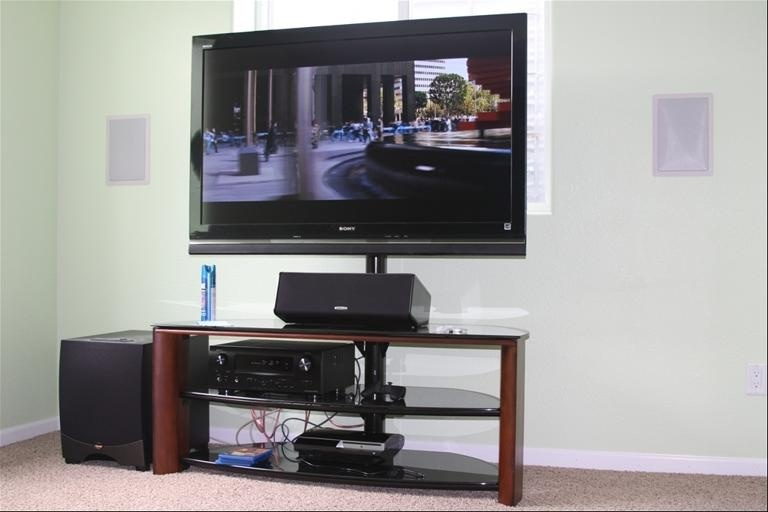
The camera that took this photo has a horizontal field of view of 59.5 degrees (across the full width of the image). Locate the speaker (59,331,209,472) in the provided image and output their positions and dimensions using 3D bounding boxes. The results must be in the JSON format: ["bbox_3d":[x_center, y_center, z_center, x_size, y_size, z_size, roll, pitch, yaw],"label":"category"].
[{"bbox_3d":[-1.390,0.820,3.952,0.770,0.726,0.809,-3,-6,30],"label":"speaker"}]

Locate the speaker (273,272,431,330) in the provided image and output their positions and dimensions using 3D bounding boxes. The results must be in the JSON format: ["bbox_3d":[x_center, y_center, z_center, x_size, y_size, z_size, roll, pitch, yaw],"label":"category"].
[{"bbox_3d":[-0.199,0.232,3.559,0.766,0.295,0.098,2,11,12],"label":"speaker"}]

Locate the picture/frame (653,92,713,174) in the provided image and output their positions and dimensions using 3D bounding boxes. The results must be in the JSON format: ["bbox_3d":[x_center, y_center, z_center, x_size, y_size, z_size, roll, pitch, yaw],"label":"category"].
[{"bbox_3d":[1.675,-0.681,3.765,0.302,0.437,0.108,0,11,1],"label":"picture/frame"}]

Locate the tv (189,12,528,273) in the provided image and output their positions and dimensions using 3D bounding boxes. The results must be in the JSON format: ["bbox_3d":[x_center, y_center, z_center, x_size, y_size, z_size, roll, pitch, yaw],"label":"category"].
[{"bbox_3d":[-0.069,-0.600,4.051,2.130,1.391,0.672,3,7,23],"label":"tv"}]

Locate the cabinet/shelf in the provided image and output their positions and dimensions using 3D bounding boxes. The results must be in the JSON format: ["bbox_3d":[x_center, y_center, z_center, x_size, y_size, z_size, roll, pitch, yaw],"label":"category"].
[{"bbox_3d":[-0.244,0.768,3.618,1.982,0.843,0.604,3,11,13],"label":"cabinet/shelf"}]
